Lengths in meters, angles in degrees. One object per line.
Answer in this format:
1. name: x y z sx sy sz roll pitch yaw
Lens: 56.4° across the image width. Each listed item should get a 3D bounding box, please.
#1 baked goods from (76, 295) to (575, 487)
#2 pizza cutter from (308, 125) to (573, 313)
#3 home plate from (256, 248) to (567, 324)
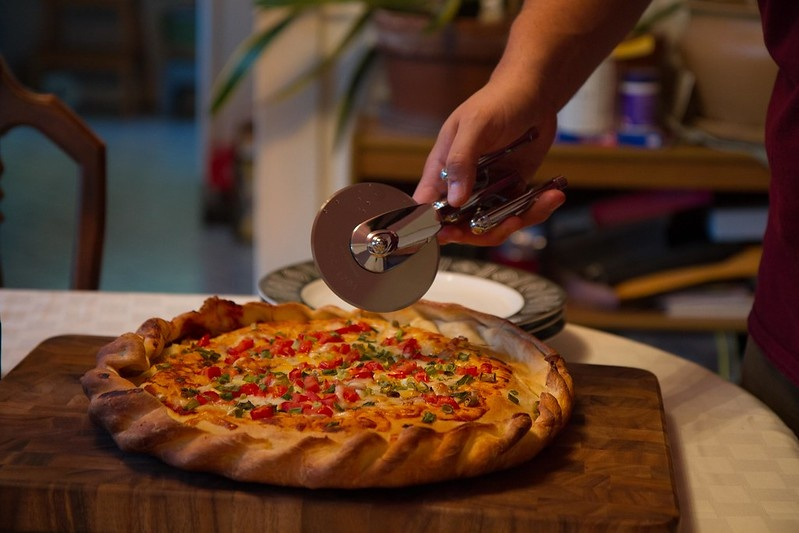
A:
1. baked goods: -0.122 0.266 1.516 0.581 0.100 0.516 1 16 -15
2. pizza cutter: 0.070 -0.073 1.599 0.312 0.617 0.135 -22 75 -49
3. home plate: 0.041 0.066 1.940 0.758 0.097 0.751 3 8 -14
